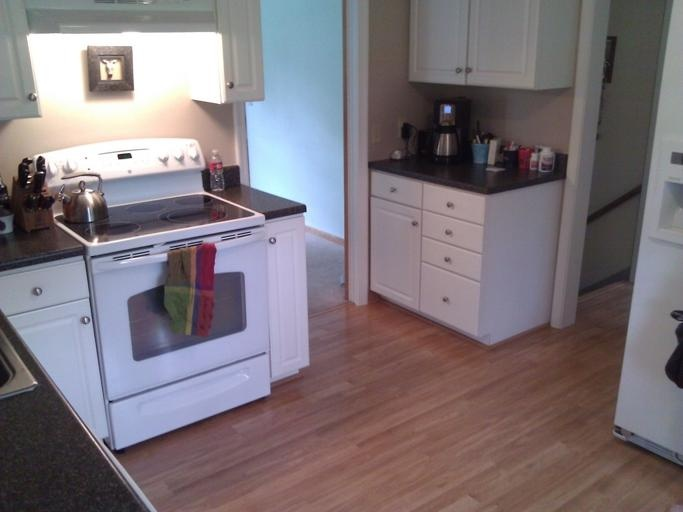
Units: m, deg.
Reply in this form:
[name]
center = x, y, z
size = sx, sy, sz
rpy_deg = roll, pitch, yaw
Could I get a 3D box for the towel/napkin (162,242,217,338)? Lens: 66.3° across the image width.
[towel/napkin]
center = -0.730, 0.145, 2.523
size = 0.188, 0.482, 0.206
rpy_deg = -12, 27, -43

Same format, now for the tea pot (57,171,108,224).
[tea pot]
center = -1.301, -0.264, 2.661
size = 0.225, 0.289, 0.204
rpy_deg = -10, 24, -37

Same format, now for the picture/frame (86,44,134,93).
[picture/frame]
center = -1.216, -0.986, 2.716
size = 0.208, 0.224, 0.036
rpy_deg = -12, 21, -33

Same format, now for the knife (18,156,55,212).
[knife]
center = -1.426, -0.328, 2.479
size = 0.102, 0.280, 0.156
rpy_deg = -9, 25, -38

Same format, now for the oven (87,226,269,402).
[oven]
center = -0.724, 0.389, 2.796
size = 0.906, 0.858, 0.698
rpy_deg = -10, -18, -3
